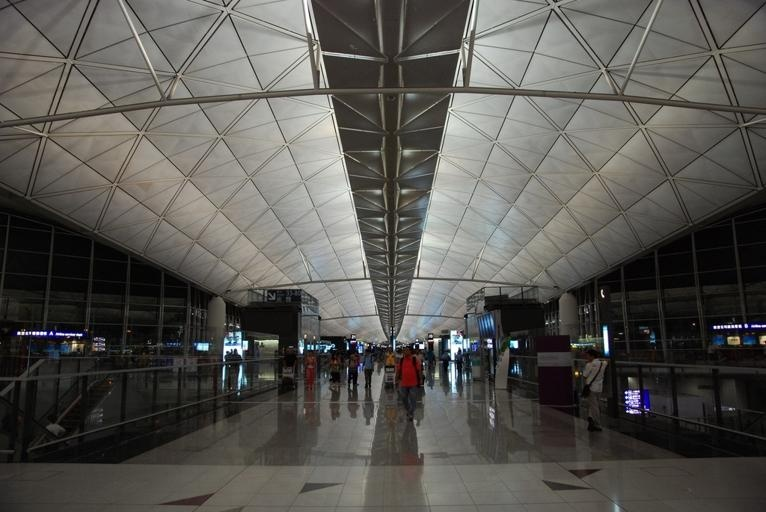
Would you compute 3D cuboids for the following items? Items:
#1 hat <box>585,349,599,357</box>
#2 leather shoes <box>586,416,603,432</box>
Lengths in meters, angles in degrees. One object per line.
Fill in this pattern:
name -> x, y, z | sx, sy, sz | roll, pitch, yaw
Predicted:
hat -> 6.799, 3.141, 15.302 | 0.289, 0.345, 0.342 | 5, -6, -27
leather shoes -> 6.342, 5.091, 14.198 | 0.241, 0.599, 0.268 | -7, -1, 30
